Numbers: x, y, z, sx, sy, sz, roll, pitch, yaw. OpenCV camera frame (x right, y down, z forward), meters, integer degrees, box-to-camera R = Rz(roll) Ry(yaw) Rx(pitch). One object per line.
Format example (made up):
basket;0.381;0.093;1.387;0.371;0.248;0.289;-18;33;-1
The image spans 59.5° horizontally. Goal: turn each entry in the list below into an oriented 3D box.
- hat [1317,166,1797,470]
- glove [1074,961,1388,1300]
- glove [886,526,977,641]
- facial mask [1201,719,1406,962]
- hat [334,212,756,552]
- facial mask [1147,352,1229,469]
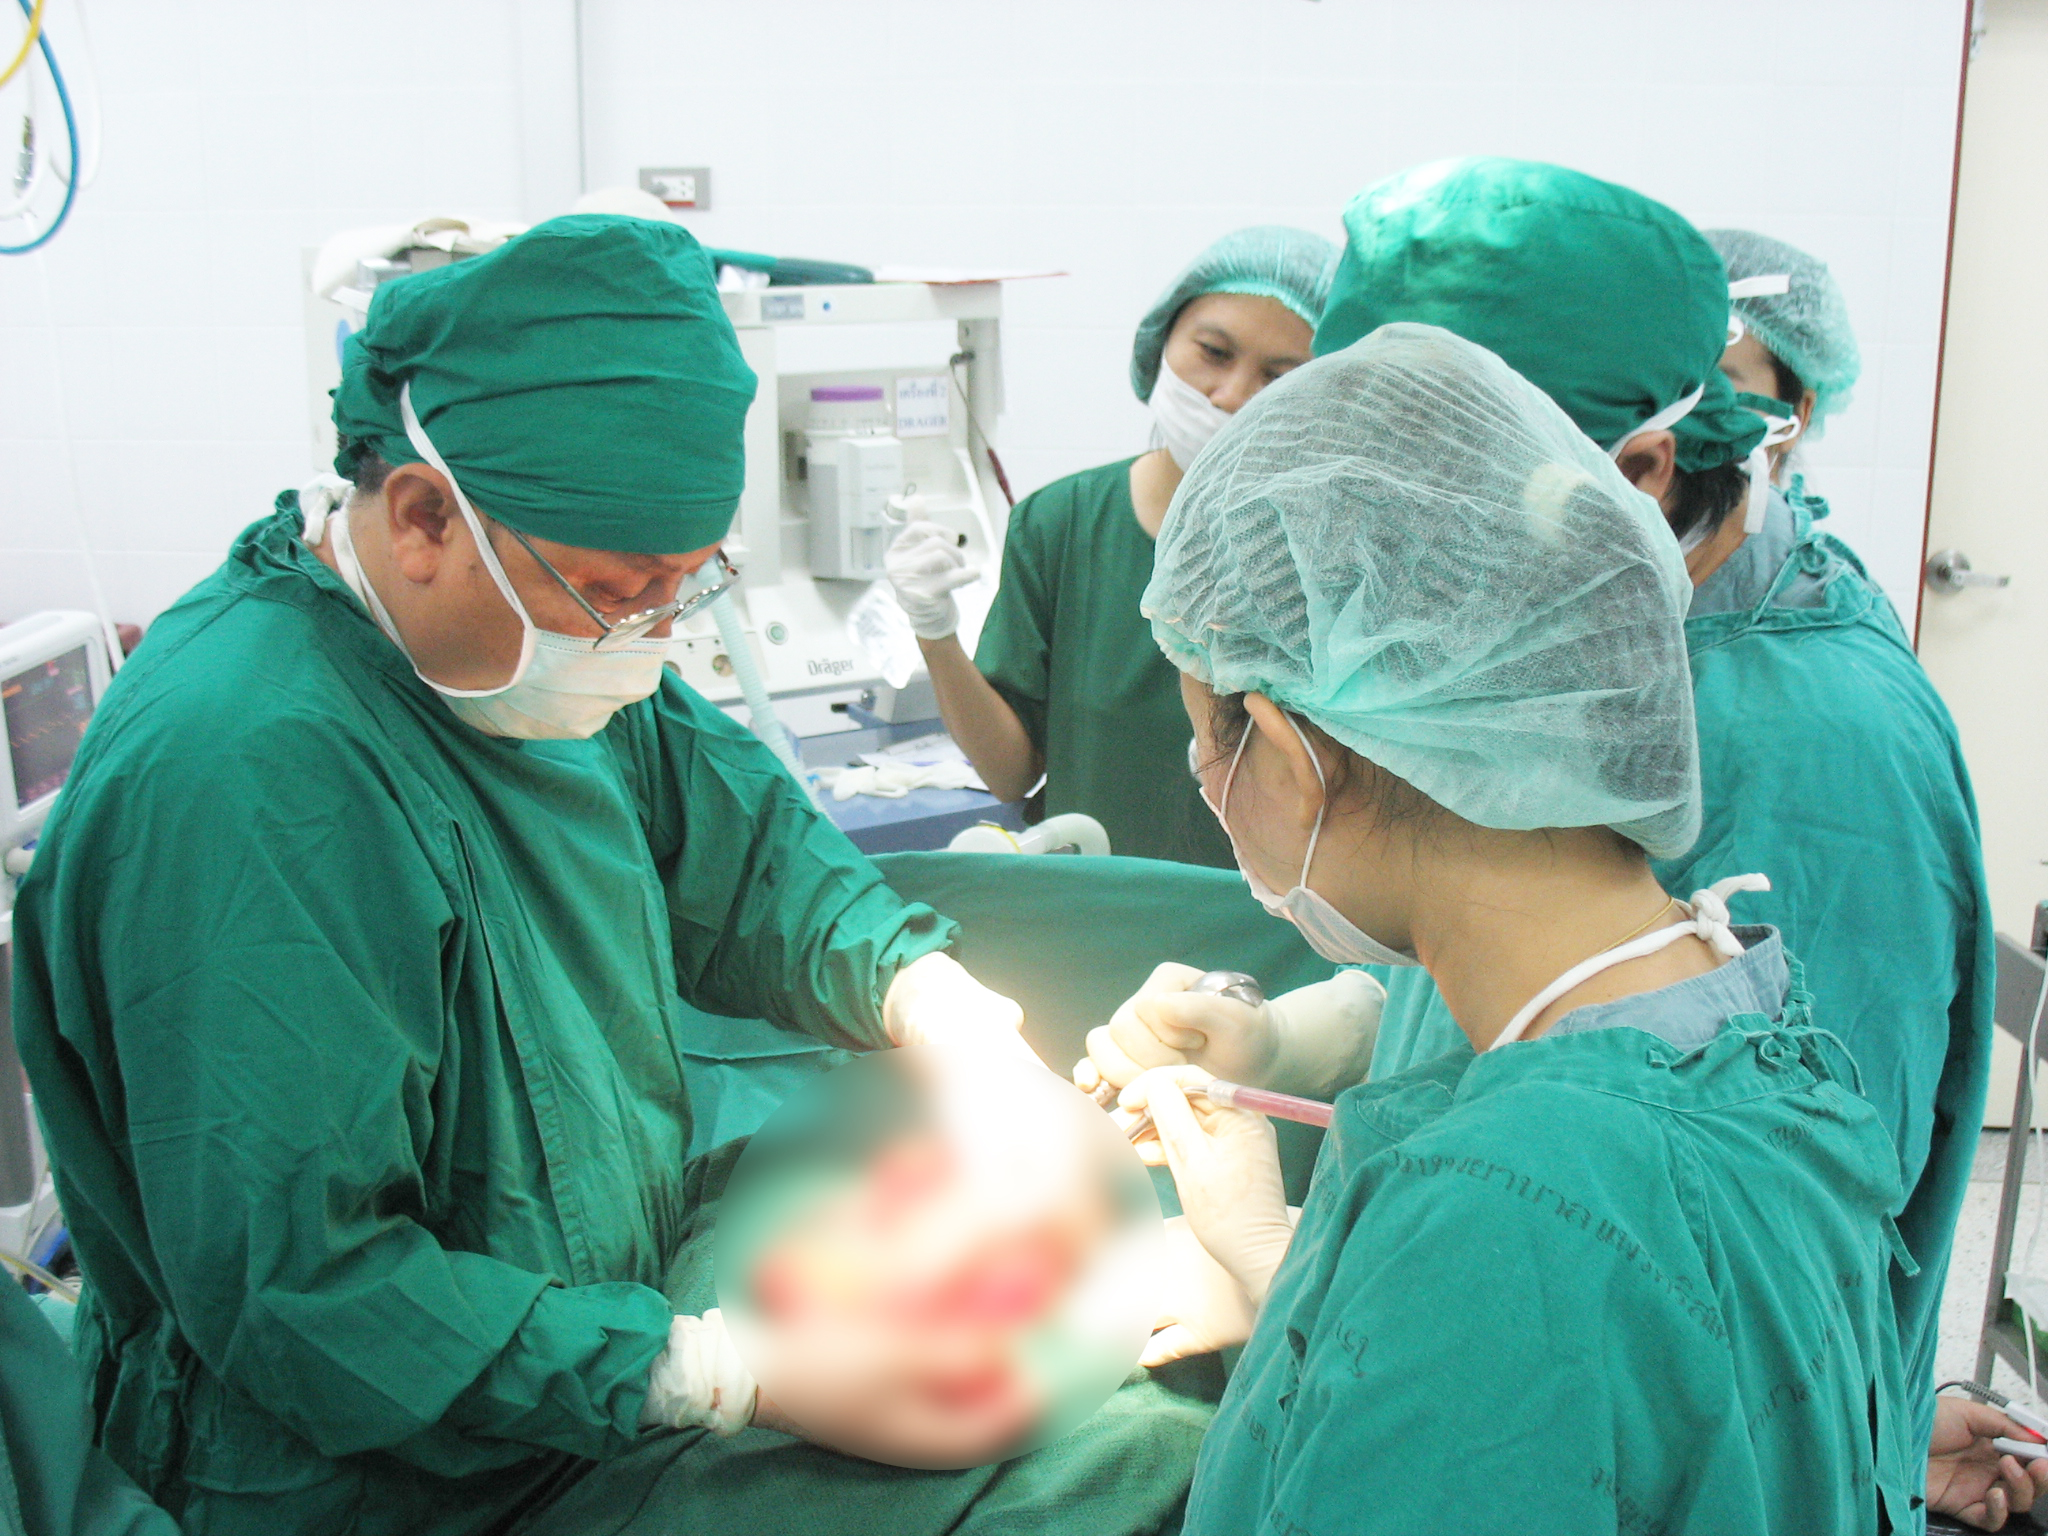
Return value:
hat;0.510;-0.424;1.681;0.305;0.165;0.276;27;4;-38
glove;0.273;0.388;2.050;0.318;0.343;0.121;21;-4;34
glove;-0.168;-0.325;3.166;0.069;0.166;0.208;-7;-24;-14
facial mask;0.230;0.056;1.546;0.130;0.219;0.186;-6;9;-24
hat;-0.505;-0.417;1.892;0.431;0.332;0.345;8;11;12
facial mask;0.237;-0.558;2.775;0.134;0.109;0.176;21;9;-13
